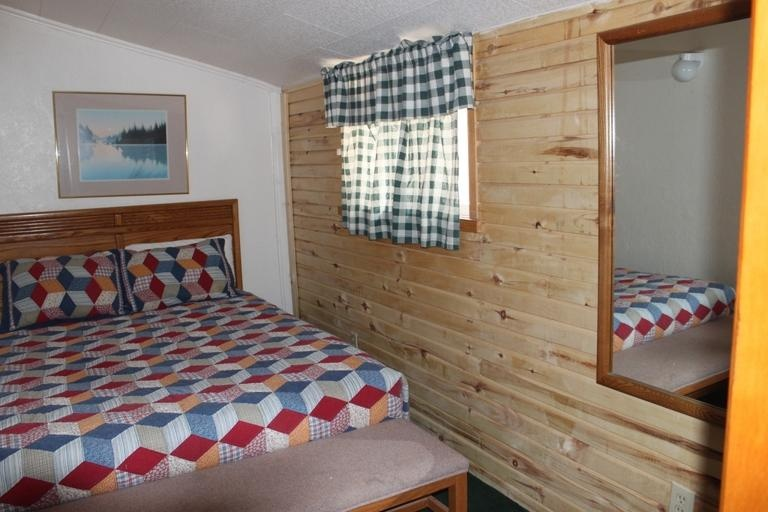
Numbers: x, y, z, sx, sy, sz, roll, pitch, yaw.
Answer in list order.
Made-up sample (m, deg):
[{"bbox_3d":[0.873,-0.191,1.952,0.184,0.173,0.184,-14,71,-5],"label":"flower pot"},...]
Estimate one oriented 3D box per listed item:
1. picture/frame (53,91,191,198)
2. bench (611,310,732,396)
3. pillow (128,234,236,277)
[{"bbox_3d":[-2.200,-0.928,4.293,1.178,0.742,0.019,-5,11,-26],"label":"picture/frame"},{"bbox_3d":[1.306,0.469,2.346,0.038,0.278,0.844,12,-25,-37],"label":"bench"},{"bbox_3d":[-1.740,-0.019,4.460,0.667,0.366,0.156,-1,-13,-27],"label":"pillow"}]
